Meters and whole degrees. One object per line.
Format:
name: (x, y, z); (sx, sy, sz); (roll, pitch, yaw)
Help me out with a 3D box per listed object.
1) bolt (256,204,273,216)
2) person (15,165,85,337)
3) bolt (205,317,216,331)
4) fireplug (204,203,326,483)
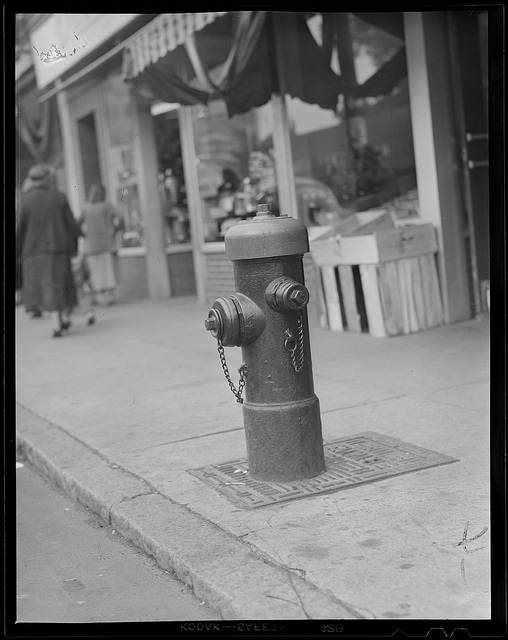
bolt: (0.040, -0.492, 3.081); (0.049, 0.051, 0.052); (3, 15, 17)
person: (-2.277, -0.720, 7.851); (0.650, 1.928, 1.487); (-9, 9, -23)
bolt: (-0.205, 0.016, 3.089); (0.039, 0.057, 0.110); (-8, 9, -17)
fireplug: (0.039, 0.116, 3.133); (0.469, 1.251, 0.264); (-5, 8, 6)
